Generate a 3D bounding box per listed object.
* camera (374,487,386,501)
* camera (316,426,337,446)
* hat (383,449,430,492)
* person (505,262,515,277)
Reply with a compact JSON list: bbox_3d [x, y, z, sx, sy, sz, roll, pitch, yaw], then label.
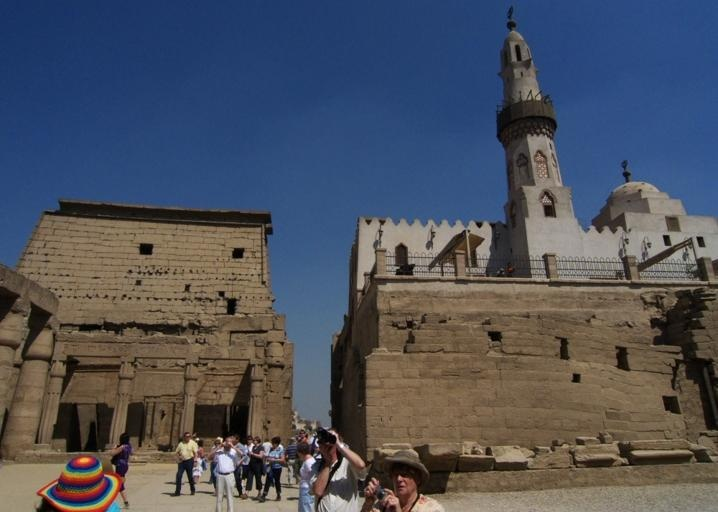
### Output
[{"bbox_3d":[0.286,3.097,6.581,0.113,0.146,0.159,-5,-21,9],"label":"camera"},{"bbox_3d":[-0.544,2.755,7.679,0.198,0.239,0.424,15,-26,-37],"label":"camera"},{"bbox_3d":[0.721,2.911,6.962,0.606,0.255,0.685,5,-34,17],"label":"hat"},{"bbox_3d":[7.212,0.657,24.056,0.618,0.569,1.071,2,11,10],"label":"person"}]
